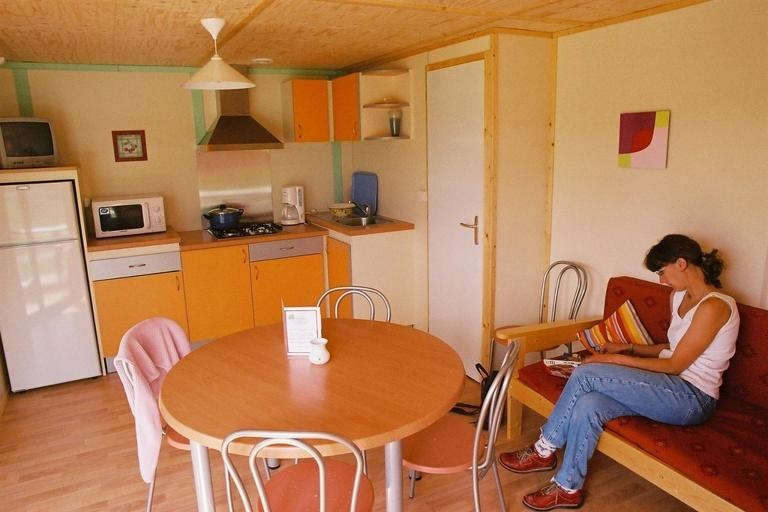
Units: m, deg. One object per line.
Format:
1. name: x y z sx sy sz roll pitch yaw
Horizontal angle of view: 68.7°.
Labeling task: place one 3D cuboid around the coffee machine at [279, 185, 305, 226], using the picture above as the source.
1. coffee machine: -1.011 -0.556 5.990 0.311 0.400 0.214 2 13 19

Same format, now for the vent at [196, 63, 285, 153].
1. vent: -1.530 -1.542 5.662 0.742 0.857 0.684 -12 12 -12

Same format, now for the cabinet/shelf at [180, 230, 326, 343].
1. cabinet/shelf: -1.033 0.283 6.409 1.018 1.060 1.654 -8 2 -8

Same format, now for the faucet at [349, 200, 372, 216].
1. faucet: -0.244 -0.529 6.001 0.167 0.082 0.209 -6 15 -36

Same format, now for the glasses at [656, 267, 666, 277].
1. glasses: 1.745 0.088 3.537 0.039 0.035 0.067 20 -13 4

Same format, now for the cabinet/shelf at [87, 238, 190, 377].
1. cabinet/shelf: -2.168 0.507 5.404 0.850 1.132 0.772 -11 -14 0

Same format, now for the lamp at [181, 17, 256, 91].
1. lamp: -1.076 -1.317 3.627 0.455 0.385 0.399 -1 12 2

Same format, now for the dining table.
1. dining table: -0.465 0.916 3.453 1.372 0.705 1.269 -2 14 -3

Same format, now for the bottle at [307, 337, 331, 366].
1. bottle: -0.378 0.562 3.357 0.152 0.133 0.141 2 12 1

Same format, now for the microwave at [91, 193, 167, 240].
1. microwave: -2.362 -0.381 5.213 0.707 0.385 0.424 -6 13 -28

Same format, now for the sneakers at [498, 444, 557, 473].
1. sneakers: 0.967 1.389 3.900 0.424 0.161 0.163 1 23 7

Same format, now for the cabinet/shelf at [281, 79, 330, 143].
1. cabinet/shelf: -0.778 -1.504 5.755 0.447 0.613 0.198 -3 13 -5

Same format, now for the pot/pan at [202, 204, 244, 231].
1. pot/pan: -1.625 -0.401 5.749 0.308 0.247 0.405 0 8 29

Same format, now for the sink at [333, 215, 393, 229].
1. sink: -0.185 -0.370 5.790 0.272 0.113 0.328 -5 18 -22

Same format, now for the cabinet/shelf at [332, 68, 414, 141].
1. cabinet/shelf: -0.175 -1.476 5.452 0.996 0.652 0.304 8 16 41

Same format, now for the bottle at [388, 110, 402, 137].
1. bottle: 0.115 -1.267 5.307 0.131 0.247 0.105 -1 12 5

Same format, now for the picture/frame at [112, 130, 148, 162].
1. picture/frame: -2.487 -1.095 5.461 0.333 0.310 0.024 -8 14 -32
